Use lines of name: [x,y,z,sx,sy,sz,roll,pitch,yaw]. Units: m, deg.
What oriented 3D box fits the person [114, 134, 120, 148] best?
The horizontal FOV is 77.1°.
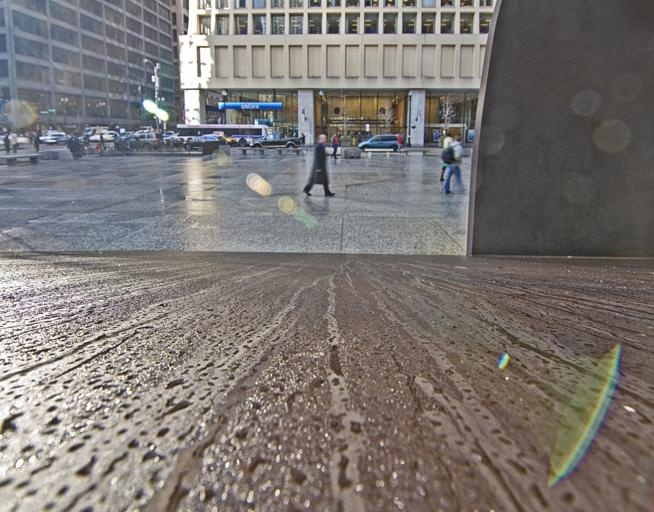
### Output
person: [-21.458,-12.113,42.923,0.438,1.563,1.736,-3,8,-24]
